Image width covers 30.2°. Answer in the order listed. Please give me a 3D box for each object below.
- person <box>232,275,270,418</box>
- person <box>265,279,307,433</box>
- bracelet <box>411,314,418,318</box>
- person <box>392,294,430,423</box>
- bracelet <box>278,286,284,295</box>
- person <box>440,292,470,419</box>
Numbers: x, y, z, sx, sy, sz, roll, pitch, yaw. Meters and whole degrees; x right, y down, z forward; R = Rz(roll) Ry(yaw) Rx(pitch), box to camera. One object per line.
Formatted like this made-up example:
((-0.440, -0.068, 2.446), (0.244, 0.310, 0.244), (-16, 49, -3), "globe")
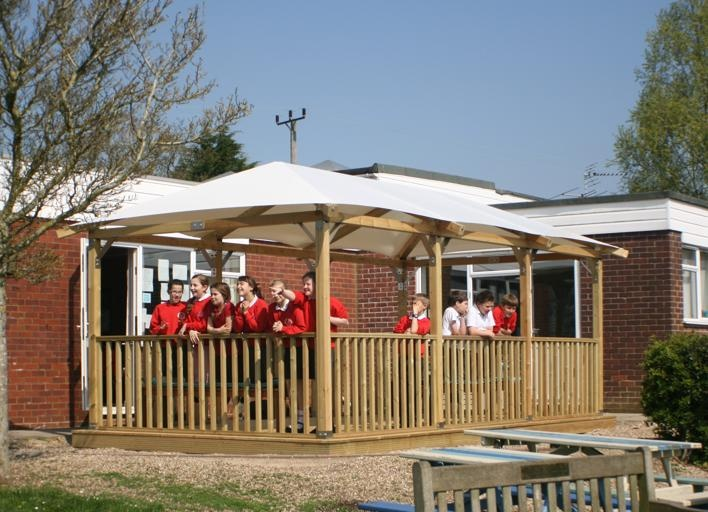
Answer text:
((-1.425, 1.239, 17.893), (0.515, 1.858, 1.296), (6, 9, -5), "person")
((-0.897, 1.391, 17.397), (0.618, 2.077, 0.893), (6, 9, -4), "person")
((0.844, 0.834, 18.167), (0.065, 0.044, 0.078), (-1, -1, 18), "bracelet")
((0.774, 1.398, 18.114), (0.482, 1.641, 1.357), (7, 9, 2), "person")
((-0.957, 0.463, 17.180), (0.046, 0.077, 0.076), (-39, 20, 2), "bracelet")
((1.442, 1.431, 18.701), (0.483, 1.564, 1.315), (7, 9, 4), "person")
